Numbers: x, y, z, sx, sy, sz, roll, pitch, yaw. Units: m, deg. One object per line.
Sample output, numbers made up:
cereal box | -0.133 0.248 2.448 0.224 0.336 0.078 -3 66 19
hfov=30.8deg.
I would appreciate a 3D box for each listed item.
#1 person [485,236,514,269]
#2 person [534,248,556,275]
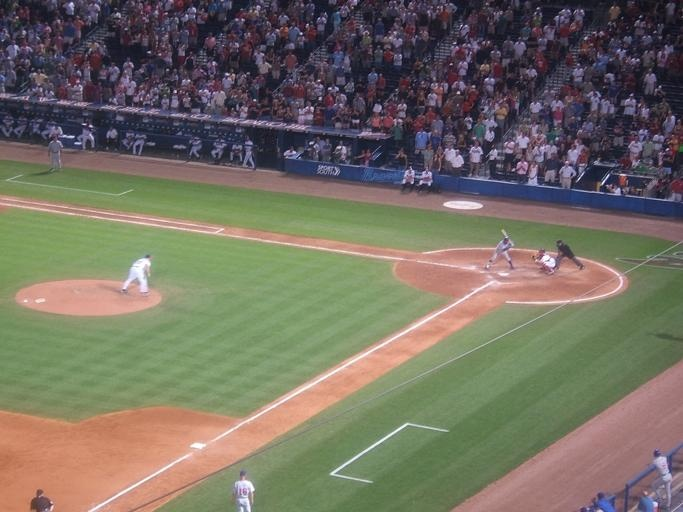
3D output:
person | 7.537 -0.104 59.226 1.464 1.624 0.712 15 35 17
person | 9.573 0.310 57.648 1.245 0.399 1.169 16 12 -35
